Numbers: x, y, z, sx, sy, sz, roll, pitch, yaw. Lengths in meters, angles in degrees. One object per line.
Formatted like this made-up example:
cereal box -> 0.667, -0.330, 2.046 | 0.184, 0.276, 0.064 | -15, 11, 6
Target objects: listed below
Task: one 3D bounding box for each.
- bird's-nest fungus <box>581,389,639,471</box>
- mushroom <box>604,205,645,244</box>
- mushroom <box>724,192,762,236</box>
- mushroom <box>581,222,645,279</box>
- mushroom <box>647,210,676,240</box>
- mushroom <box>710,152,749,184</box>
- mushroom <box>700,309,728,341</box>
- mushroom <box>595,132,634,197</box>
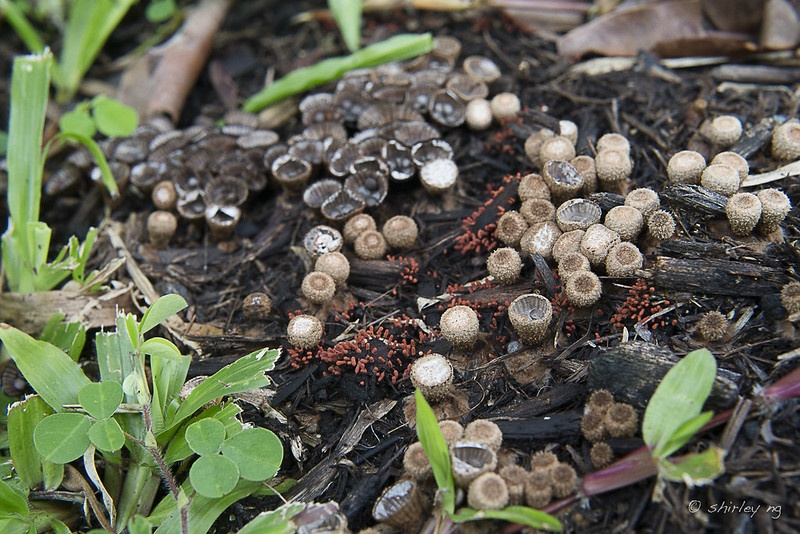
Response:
bird's-nest fungus -> 1.112, 0.843, 3.865 | 0.260, 0.393, 0.240 | 20, 28, 24
mushroom -> 1.323, -0.267, 4.306 | 0.200, 0.196, 0.197 | -41, 53, -14
mushroom -> 2.042, -0.316, 4.210 | 0.198, 0.247, 0.222 | 1, 31, 8
mushroom -> 1.238, -0.083, 4.205 | 0.347, 0.129, 0.244 | 41, 89, 20
mushroom -> 1.535, -0.244, 4.313 | 0.157, 0.167, 0.165 | -1, 50, 5
mushroom -> 2.014, -0.609, 4.441 | 0.194, 0.079, 0.193 | -36, 62, -18
mushroom -> 1.773, 0.334, 4.071 | 0.169, 0.090, 0.152 | 9, 64, 16
mushroom -> 1.351, -0.632, 4.551 | 0.219, 0.360, 0.269 | -23, 55, -3
